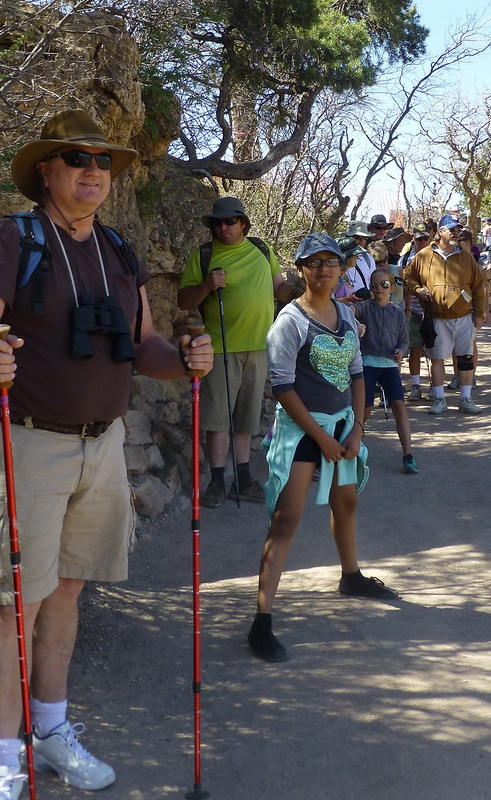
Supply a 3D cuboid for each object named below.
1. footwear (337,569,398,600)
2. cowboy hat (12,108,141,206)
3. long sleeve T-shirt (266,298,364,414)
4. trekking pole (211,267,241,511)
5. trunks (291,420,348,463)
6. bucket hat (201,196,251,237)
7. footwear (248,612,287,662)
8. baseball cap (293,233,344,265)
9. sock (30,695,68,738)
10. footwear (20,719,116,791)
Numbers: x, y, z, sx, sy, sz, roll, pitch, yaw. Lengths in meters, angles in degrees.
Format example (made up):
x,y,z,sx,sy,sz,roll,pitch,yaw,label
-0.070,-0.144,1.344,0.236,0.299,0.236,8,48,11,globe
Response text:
x,y,z,sx,sy,sz,roll,pitch,yaw,label
0.642,0.985,4.119,0.337,0.123,0.123,4,-3,17,footwear
-0.640,-0.797,2.631,0.375,0.187,0.372,-2,-14,-21,cowboy hat
0.348,-0.202,3.675,0.241,0.543,0.532,4,9,45,long sleeve T-shirt
-0.119,-0.006,5.807,0.109,1.661,0.404,-2,7,-1,trekking pole
0.334,0.196,3.572,0.161,0.197,0.111,22,-6,-35,trunks
-0.123,-1.402,5.785,0.253,0.161,0.307,1,-15,10,bucket hat
0.091,1.062,3.416,0.106,0.157,0.242,2,-4,-32,footwear
0.344,-0.727,3.715,0.149,0.097,0.194,1,-8,-2,baseball cap
-0.636,1.026,2.508,0.139,0.128,0.086,-2,2,15,sock
-0.548,1.141,2.538,0.373,0.168,0.124,10,4,23,footwear
